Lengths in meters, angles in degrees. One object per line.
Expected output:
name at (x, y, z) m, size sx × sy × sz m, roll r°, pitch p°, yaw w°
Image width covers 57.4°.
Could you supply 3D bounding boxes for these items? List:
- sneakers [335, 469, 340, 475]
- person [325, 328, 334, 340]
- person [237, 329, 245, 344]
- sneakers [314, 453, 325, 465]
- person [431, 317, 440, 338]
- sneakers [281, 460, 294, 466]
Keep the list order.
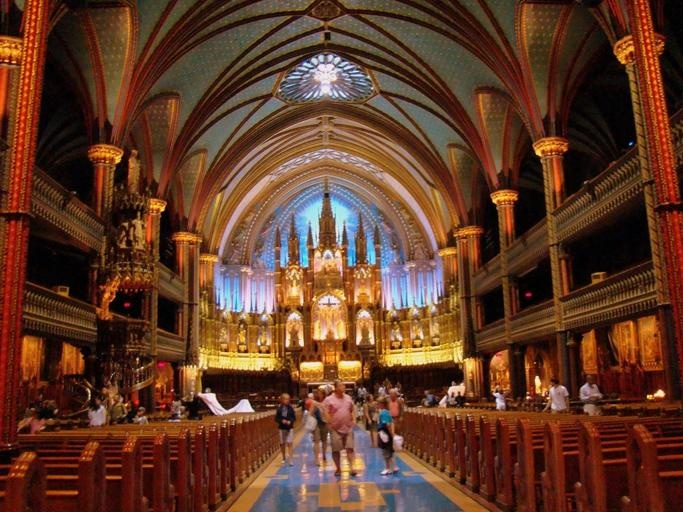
sneakers at (-0.062, 4.277, 12.293) m, size 0.105 × 0.102 × 0.304 m, roll -1°, pitch -19°, yaw -3°
person at (-0.671, 4.837, 38.485) m, size 0.458 × 0.811 × 0.479 m, roll -11°, pitch -20°, yaw 28°
person at (-6.043, 4.955, 37.929) m, size 0.180 × 0.871 × 0.662 m, roll -13°, pitch -21°, yaw 32°
sneakers at (-0.487, 4.655, 14.258) m, size 0.180 × 0.270 × 0.613 m, roll 0°, pitch -20°, yaw -3°
person at (5.485, 4.155, 36.512) m, size 0.179 × 1.206 × 0.756 m, roll 7°, pitch -19°, yaw -26°
sneakers at (-1.219, 4.769, 14.360) m, size 0.140 × 0.188 × 0.409 m, roll 7°, pitch -17°, yaw -41°
